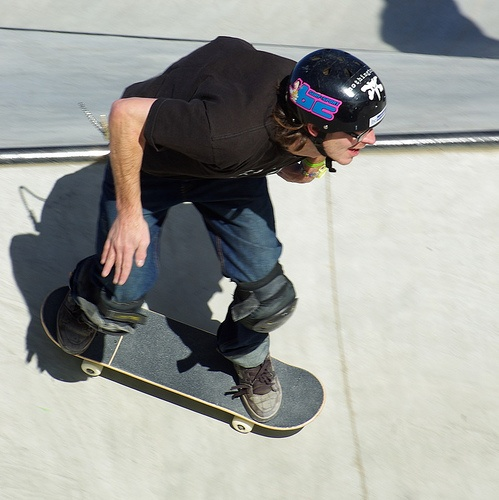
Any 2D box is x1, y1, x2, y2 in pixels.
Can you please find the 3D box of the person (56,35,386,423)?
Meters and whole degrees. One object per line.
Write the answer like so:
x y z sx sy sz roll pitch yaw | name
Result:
-0.237 -0.131 3.020 1.313 1.794 1.356 17 60 5 | person

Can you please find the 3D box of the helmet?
0.383 -0.657 2.620 0.461 0.407 0.323 20 58 19 | helmet

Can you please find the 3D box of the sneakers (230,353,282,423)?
0.050 0.801 3.427 0.259 0.164 0.364 -24 76 -13 | sneakers

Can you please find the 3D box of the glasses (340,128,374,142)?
0.475 -0.493 2.518 0.088 0.019 0.082 20 27 31 | glasses
